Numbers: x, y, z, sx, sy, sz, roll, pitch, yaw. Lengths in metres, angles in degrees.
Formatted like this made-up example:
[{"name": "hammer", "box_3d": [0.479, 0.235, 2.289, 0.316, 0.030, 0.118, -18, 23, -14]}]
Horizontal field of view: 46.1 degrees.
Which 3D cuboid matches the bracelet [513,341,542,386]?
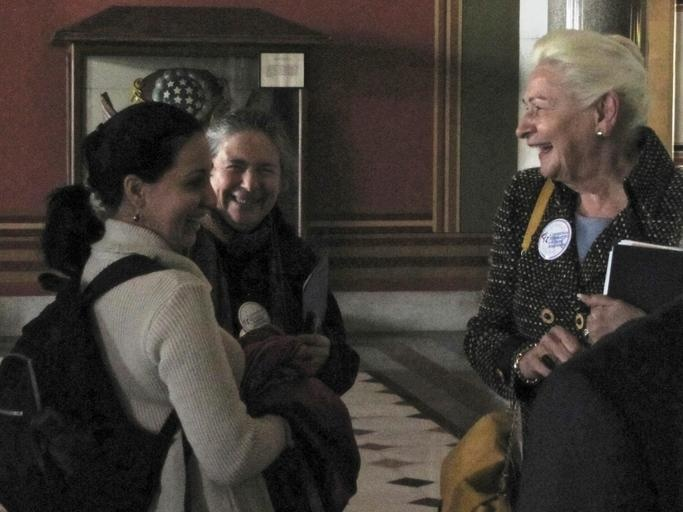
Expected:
[{"name": "bracelet", "box_3d": [0.481, 0.296, 2.181, 0.034, 0.094, 0.087, 21, -19, 45]}]
